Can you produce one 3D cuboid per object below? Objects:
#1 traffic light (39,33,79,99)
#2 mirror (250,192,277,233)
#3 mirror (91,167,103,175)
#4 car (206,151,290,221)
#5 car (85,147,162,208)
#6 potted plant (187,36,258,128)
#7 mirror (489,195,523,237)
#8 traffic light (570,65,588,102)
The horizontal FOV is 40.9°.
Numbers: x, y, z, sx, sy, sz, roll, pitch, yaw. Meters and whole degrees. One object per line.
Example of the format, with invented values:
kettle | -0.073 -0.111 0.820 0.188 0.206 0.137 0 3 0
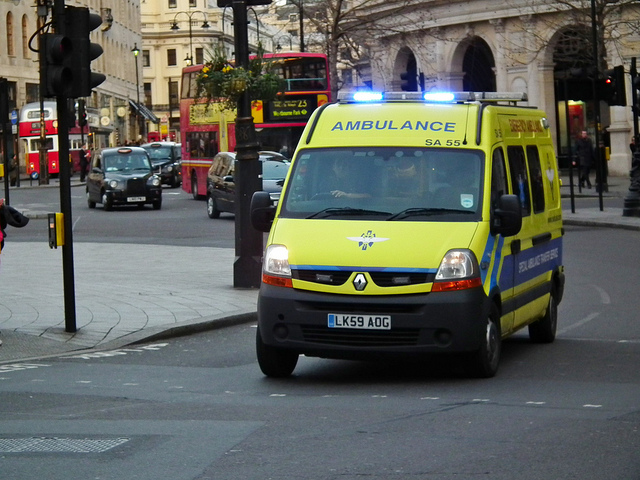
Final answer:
traffic light | -3.104 -2.079 10.161 0.253 0.717 0.366 5 9 30
mirror | -0.629 -0.342 8.949 0.325 0.613 0.448 1 5 -7
mirror | -9.321 -2.927 35.783 0.348 0.180 0.483 -2 6 1
car | -2.249 -1.871 29.287 2.310 2.294 4.445 -4 7 -24
car | -8.451 -2.689 36.730 2.647 2.413 4.897 -5 7 -22
potted plant | -1.650 -2.778 14.388 0.867 1.214 1.498 -3 6 -23
mirror | 1.760 -0.218 8.252 0.401 0.357 0.403 9 -3 -19
traffic light | 8.319 -5.015 27.444 0.518 1.132 2.794 1 6 17
